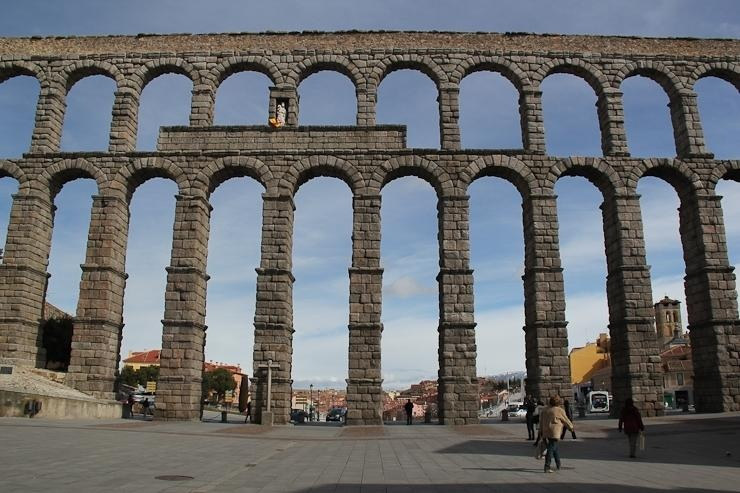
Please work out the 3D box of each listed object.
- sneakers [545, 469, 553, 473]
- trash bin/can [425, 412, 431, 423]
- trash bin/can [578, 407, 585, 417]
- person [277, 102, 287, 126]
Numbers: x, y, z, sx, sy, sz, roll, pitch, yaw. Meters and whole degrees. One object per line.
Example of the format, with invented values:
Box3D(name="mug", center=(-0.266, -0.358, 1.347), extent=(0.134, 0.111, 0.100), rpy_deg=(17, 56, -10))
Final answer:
Box3D(name="sneakers", center=(5.652, 7.068, 20.992), extent=(0.152, 0.115, 0.396), rpy_deg=(-15, -21, 37))
Box3D(name="trash bin/can", center=(3.166, 9.640, 37.551), extent=(0.531, 0.671, 0.510), rpy_deg=(-1, -14, 5))
Box3D(name="trash bin/can", center=(11.870, 9.301, 37.253), extent=(0.296, 0.561, 0.765), rpy_deg=(-5, -17, 10))
Box3D(name="person", center=(-5.115, -7.362, 37.177), extent=(0.579, 1.553, 0.210), rpy_deg=(6, -19, -24))
